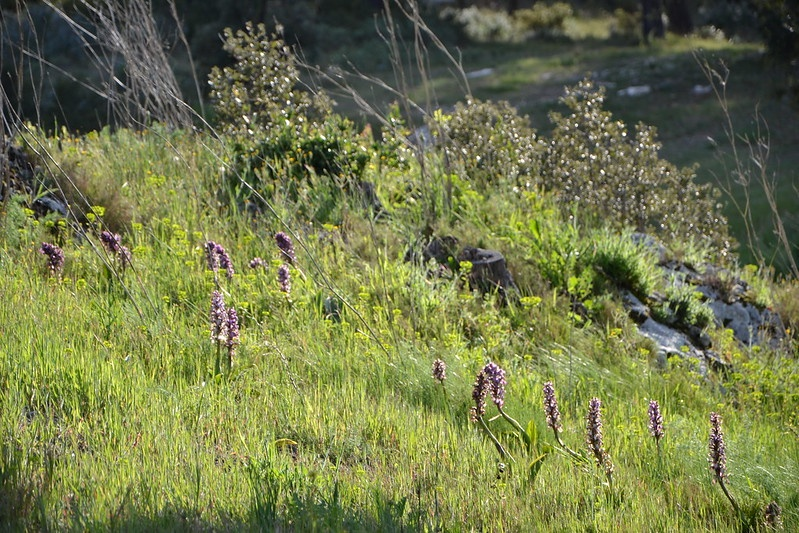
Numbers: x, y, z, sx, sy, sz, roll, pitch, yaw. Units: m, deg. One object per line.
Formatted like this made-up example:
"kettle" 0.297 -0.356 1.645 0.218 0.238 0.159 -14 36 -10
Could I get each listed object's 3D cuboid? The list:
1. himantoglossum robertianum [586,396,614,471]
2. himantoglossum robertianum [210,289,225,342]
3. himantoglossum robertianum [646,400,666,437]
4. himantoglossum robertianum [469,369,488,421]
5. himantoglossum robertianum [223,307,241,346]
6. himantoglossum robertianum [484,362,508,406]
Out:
"himantoglossum robertianum" 3.520 3.135 30.341 0.398 1.322 0.348 -5 1 16
"himantoglossum robertianum" -3.325 0.969 30.856 0.294 0.940 0.476 -5 1 -8
"himantoglossum robertianum" 4.549 2.844 30.416 0.231 0.684 0.356 -5 1 7
"himantoglossum robertianum" 1.404 2.379 30.421 0.343 0.841 0.359 -5 1 9
"himantoglossum robertianum" -3.087 1.179 30.898 0.246 0.709 0.412 -5 1 -5
"himantoglossum robertianum" 1.689 2.191 30.373 0.360 0.781 0.263 -5 1 3
